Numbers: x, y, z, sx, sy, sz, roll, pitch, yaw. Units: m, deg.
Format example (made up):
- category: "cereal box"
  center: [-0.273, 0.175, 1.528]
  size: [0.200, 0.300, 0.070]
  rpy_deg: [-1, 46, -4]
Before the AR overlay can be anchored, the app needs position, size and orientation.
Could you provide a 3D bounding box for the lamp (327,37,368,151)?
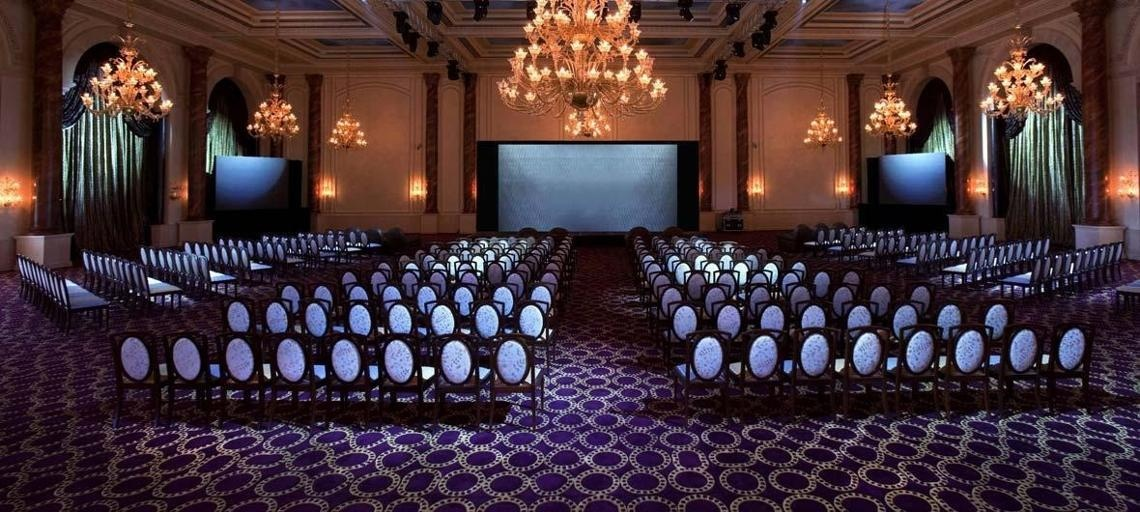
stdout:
- category: "lamp"
  center: [-8.517, -5.647, 25.557]
  size: [1.226, 2.492, 1.111]
  rpy_deg: [2, 10, -13]
